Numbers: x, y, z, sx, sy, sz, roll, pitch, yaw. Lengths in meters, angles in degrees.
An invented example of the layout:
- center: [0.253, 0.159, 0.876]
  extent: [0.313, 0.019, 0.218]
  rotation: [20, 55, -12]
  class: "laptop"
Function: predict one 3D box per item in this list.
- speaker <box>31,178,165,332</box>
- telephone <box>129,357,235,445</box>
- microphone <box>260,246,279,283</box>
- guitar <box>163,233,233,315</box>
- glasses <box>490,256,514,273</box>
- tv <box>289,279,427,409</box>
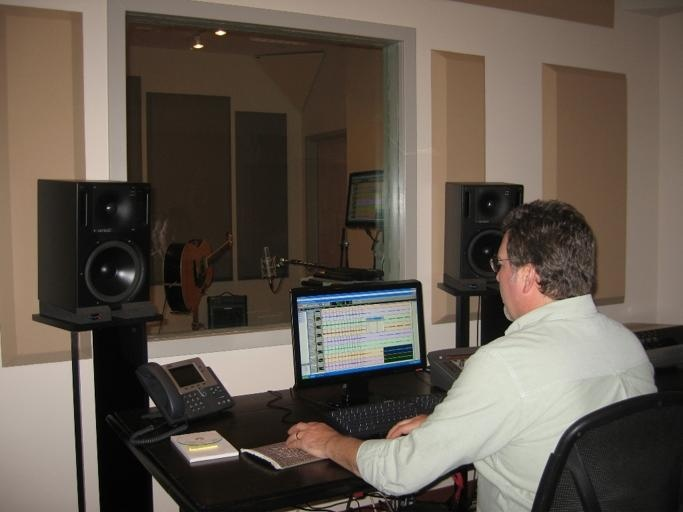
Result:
- center: [-0.999, -0.024, 2.418]
  extent: [0.517, 0.791, 0.462]
  rotation: [3, 4, 44]
  class: "speaker"
- center: [-0.646, 0.494, 2.383]
  extent: [0.364, 0.155, 0.254]
  rotation: [-5, 11, -43]
  class: "telephone"
- center: [-0.614, 0.063, 5.104]
  extent: [0.137, 0.234, 0.249]
  rotation: [-6, 13, -7]
  class: "microphone"
- center: [-0.995, 0.098, 3.879]
  extent: [0.319, 0.302, 0.880]
  rotation: [-8, 14, -14]
  class: "guitar"
- center: [0.550, 0.028, 2.074]
  extent: [0.067, 0.029, 0.067]
  rotation: [-6, 7, -17]
  class: "glasses"
- center: [0.072, 0.387, 2.587]
  extent: [0.450, 0.421, 0.195]
  rotation: [-2, -5, -22]
  class: "tv"
